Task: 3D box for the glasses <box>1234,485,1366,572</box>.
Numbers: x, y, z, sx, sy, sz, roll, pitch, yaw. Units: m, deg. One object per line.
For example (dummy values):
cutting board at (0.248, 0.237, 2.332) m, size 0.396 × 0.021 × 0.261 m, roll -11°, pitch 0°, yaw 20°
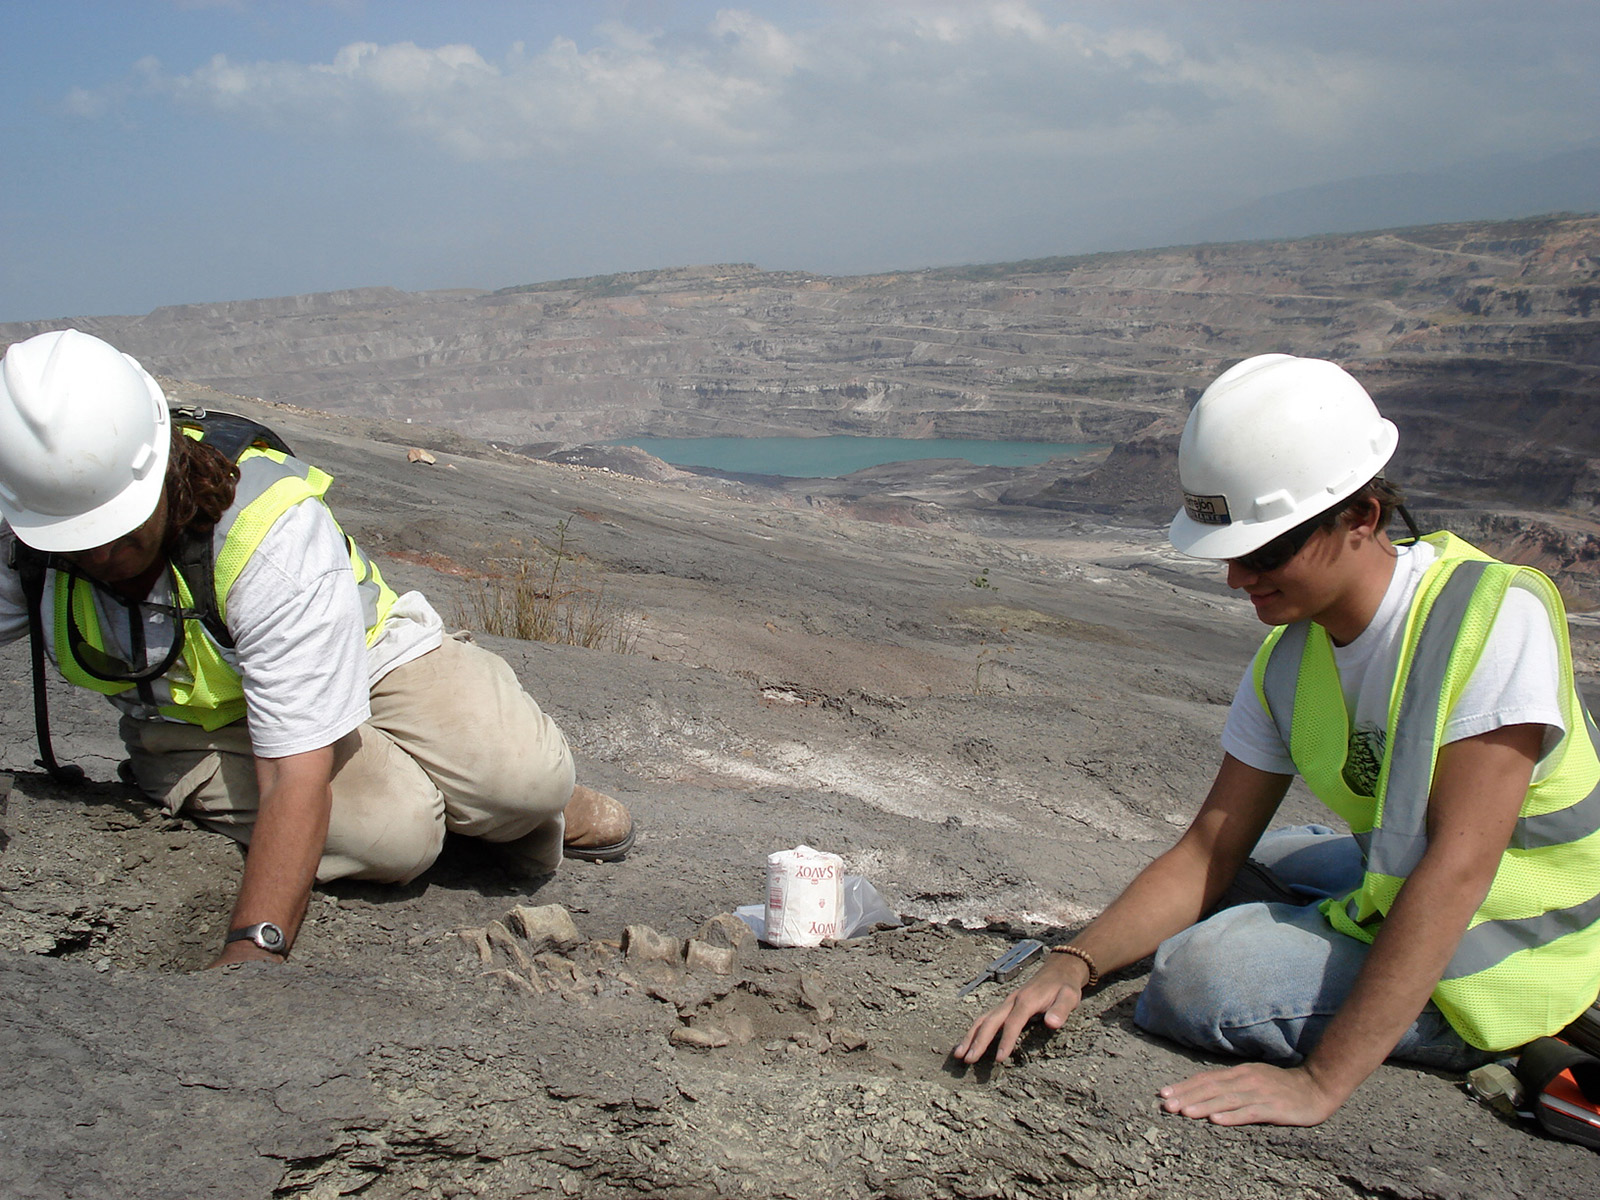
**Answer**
glasses at (1.209, -0.159, 2.655) m, size 0.279 × 0.061 × 0.195 m, roll -26°, pitch 0°, yaw 0°
